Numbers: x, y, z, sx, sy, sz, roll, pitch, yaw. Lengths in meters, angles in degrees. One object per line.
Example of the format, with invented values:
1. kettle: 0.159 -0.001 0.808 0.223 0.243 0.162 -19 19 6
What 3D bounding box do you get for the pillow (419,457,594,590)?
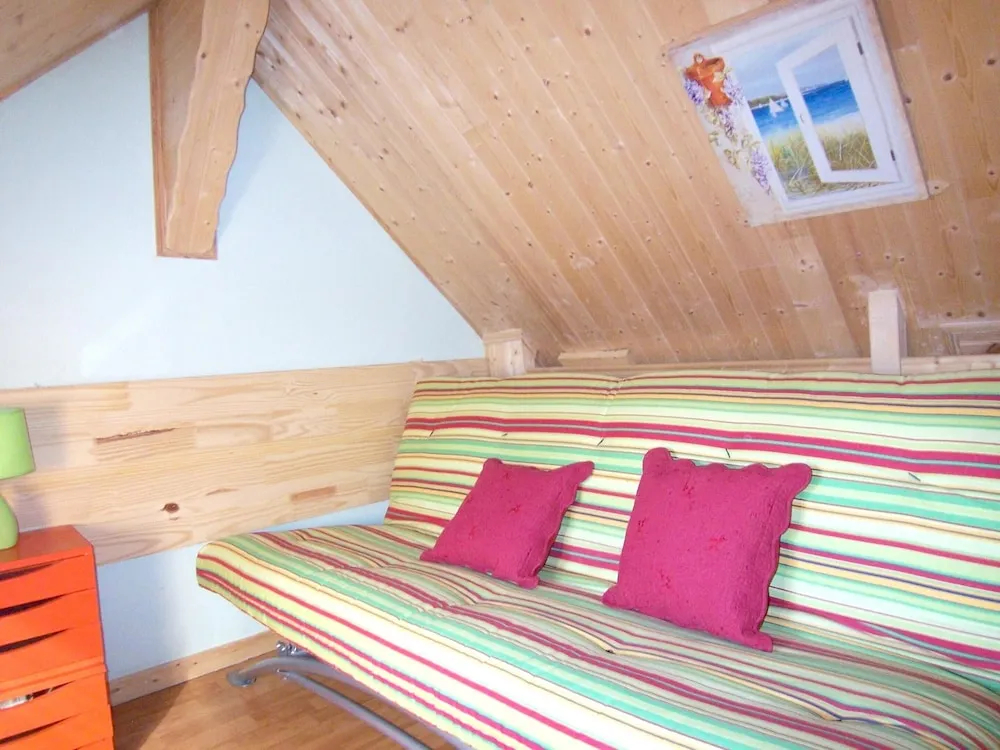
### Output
1. pillow: 0.039 0.479 1.954 0.449 0.118 0.436 -2 48 43
